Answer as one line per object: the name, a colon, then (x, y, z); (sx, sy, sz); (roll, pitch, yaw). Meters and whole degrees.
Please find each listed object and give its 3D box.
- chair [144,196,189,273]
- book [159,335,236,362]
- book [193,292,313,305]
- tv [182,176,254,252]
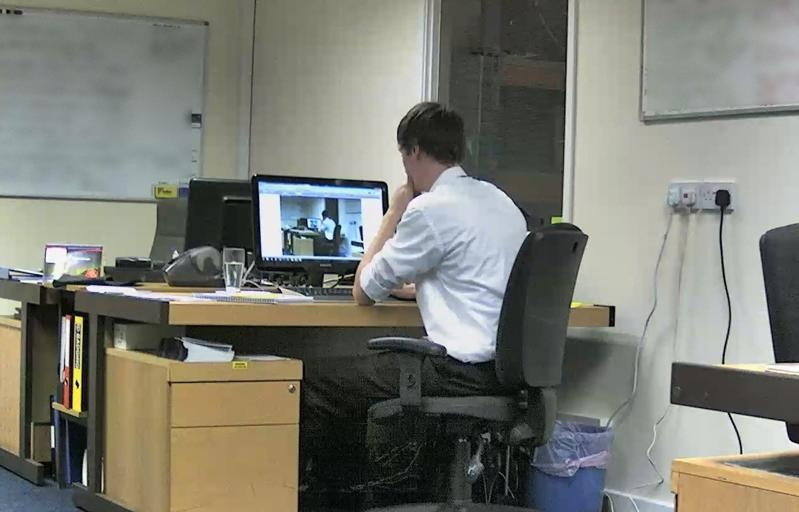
chair: (-1.292, -0.149, 4.385); (0.322, 0.356, 0.164); (4, 4, 44)
book: (-0.849, 0.382, 3.189); (0.369, 0.091, 0.128); (2, 3, 18)
book: (-0.597, 0.171, 3.208); (0.491, 0.027, 0.208); (2, 3, 7)
tv: (-0.908, -0.208, 3.987); (0.349, 0.393, 0.185); (1, 2, -16)
